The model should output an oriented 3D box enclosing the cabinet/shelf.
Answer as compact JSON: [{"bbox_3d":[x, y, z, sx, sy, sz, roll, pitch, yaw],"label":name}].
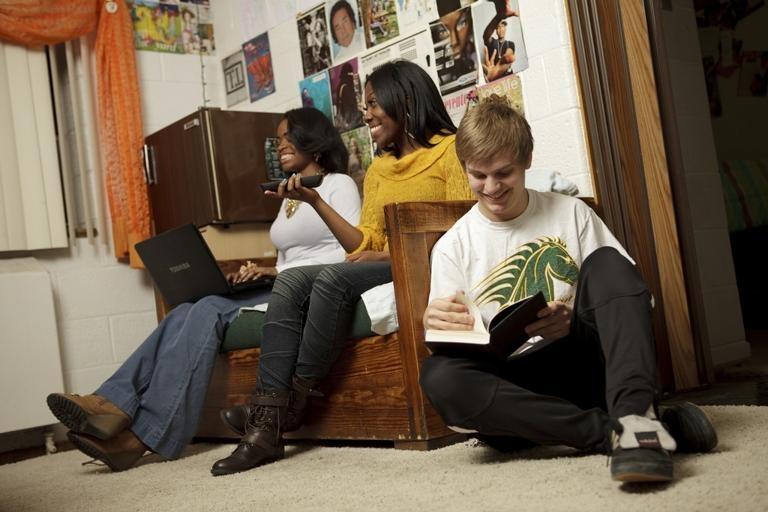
[{"bbox_3d":[-1.051,-0.477,3.523,0.511,0.610,0.906,-9,6,-40],"label":"cabinet/shelf"}]

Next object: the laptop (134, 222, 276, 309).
[{"bbox_3d":[-0.781,0.058,2.580,0.460,0.404,0.335,-11,20,35],"label":"laptop"}]

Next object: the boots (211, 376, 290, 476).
[{"bbox_3d":[-0.459,0.614,2.030,0.131,0.251,0.358,2,-4,27],"label":"boots"}]

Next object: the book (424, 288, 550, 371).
[{"bbox_3d":[0.285,0.213,1.595,0.334,0.132,0.237,-8,-5,2],"label":"book"}]

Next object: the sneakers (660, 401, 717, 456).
[{"bbox_3d":[0.805,0.453,1.543,0.051,0.136,0.139,-25,3,-11],"label":"sneakers"}]

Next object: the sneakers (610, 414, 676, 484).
[{"bbox_3d":[0.606,0.456,1.366,0.117,0.087,0.196,-4,-11,10],"label":"sneakers"}]

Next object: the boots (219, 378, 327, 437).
[{"bbox_3d":[-0.396,0.566,2.156,0.334,0.231,0.120,-5,2,19],"label":"boots"}]
